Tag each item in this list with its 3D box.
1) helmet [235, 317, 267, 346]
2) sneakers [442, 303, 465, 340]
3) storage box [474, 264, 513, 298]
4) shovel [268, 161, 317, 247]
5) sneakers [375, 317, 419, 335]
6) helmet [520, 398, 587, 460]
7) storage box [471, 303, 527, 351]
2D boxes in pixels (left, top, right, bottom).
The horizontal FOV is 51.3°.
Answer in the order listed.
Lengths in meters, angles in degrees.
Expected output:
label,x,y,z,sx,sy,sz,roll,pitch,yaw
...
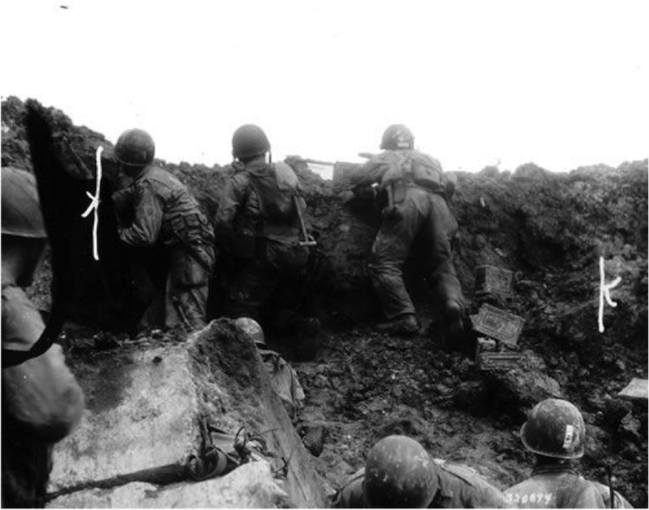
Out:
label,x,y,z,sx,sy,sz,roll,pitch,yaw
helmet,-0.640,0.638,5.737,0.249,0.214,0.362,7,-9,19
sneakers,1.407,0.741,7.385,0.260,0.468,0.240,2,-21,-3
storage box,1.936,0.320,7.804,0.277,0.276,0.115,11,-23,-24
shovel,-0.370,-0.577,7.666,0.340,1.184,0.257,-13,-23,6
sneakers,0.805,0.788,7.524,0.460,0.249,0.171,5,6,37
helmet,1.684,1.222,4.945,0.459,0.355,0.637,6,3,2
storage box,1.864,0.759,7.262,0.461,0.406,0.171,23,-47,-2
